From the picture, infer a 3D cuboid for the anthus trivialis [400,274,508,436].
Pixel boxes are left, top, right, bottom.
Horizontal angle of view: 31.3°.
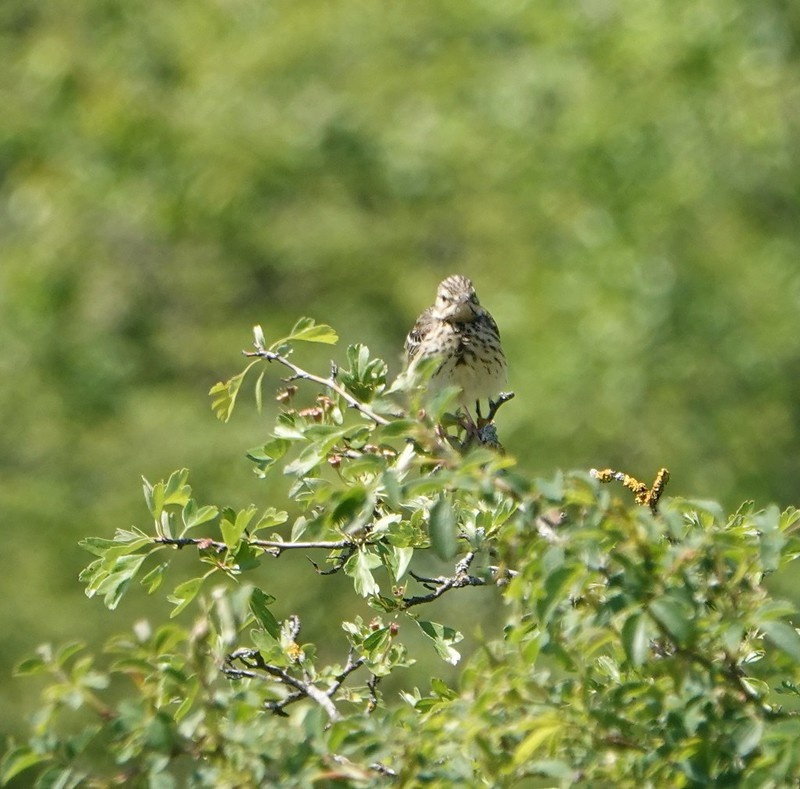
[{"bbox_3d":[0.241,-0.240,7.149,0.600,0.877,0.708,-3,100,-7],"label":"anthus trivialis"}]
